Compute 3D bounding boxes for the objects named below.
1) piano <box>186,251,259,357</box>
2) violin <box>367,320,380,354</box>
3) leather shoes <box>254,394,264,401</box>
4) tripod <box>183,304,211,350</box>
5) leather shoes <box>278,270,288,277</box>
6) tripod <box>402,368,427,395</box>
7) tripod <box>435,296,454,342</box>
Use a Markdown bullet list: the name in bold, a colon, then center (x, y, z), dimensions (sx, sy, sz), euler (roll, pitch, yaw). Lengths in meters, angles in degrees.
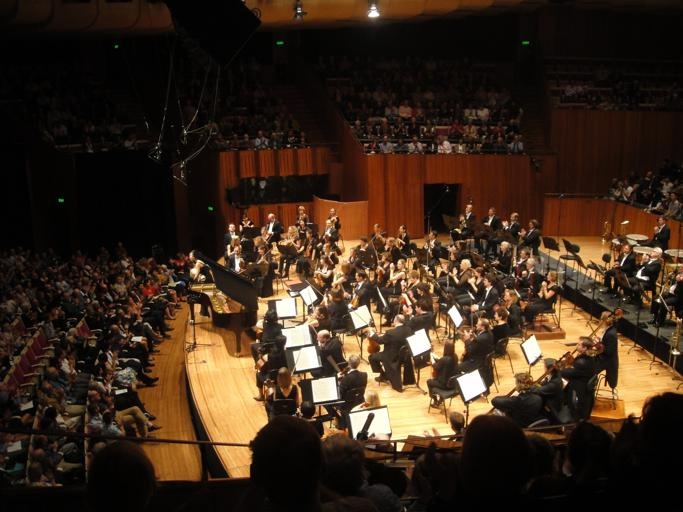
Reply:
- **piano**: center (-2.687, 1.159, 12.763), dimensions (0.667, 1.386, 1.894), euler (-7, 15, -27)
- **violin**: center (0.567, 1.623, 11.250), dimensions (0.167, 0.630, 0.279), euler (-1, 6, 35)
- **leather shoes**: center (-1.546, 2.600, 10.481), dimensions (0.107, 0.100, 0.374), euler (-3, 0, -26)
- **tripod**: center (-3.426, 1.719, 12.988), dimensions (0.879, 0.595, 1.058), euler (10, -46, -9)
- **leather shoes**: center (-1.770, 0.546, 17.039), dimensions (0.179, 0.276, 0.212), euler (4, -15, -25)
- **tripod**: center (1.453, 2.476, 11.014), dimensions (0.436, 0.447, 0.413), euler (-1, 1, -30)
- **tripod**: center (2.362, 1.483, 13.215), dimensions (0.254, 0.847, 0.847), euler (-1, 4, -4)
